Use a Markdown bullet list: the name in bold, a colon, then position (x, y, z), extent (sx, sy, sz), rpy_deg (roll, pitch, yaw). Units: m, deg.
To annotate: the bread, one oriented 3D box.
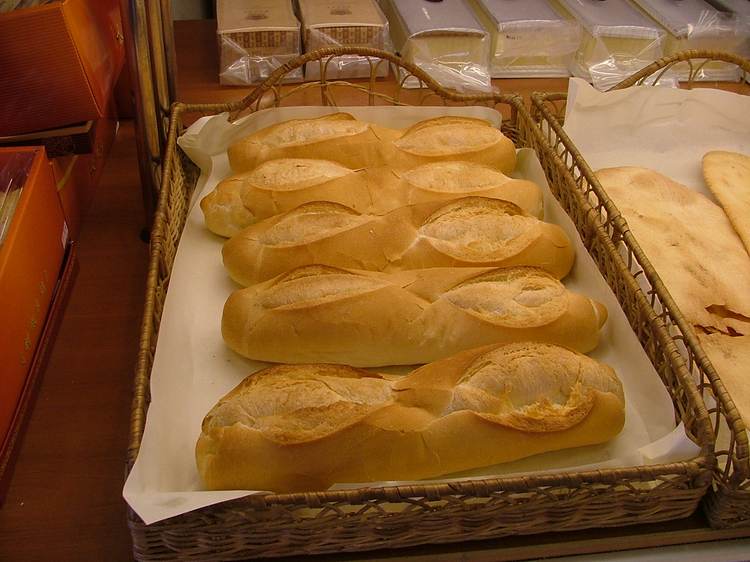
- **bread**: position (0.038, 0.036, 1.062), extent (0.561, 0.153, 0.611), rpy_deg (-4, 48, -8)
